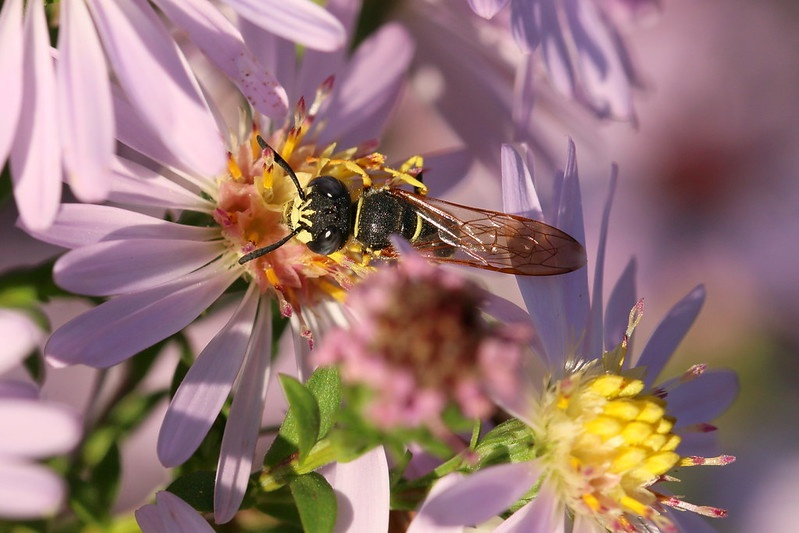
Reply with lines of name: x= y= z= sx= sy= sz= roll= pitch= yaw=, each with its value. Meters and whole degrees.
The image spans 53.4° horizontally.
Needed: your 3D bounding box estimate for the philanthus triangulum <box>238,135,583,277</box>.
philanthus triangulum: x=0.032 y=-0.079 z=1.312 sx=0.440 sy=0.273 sz=0.136 roll=12 pitch=2 yaw=-3
